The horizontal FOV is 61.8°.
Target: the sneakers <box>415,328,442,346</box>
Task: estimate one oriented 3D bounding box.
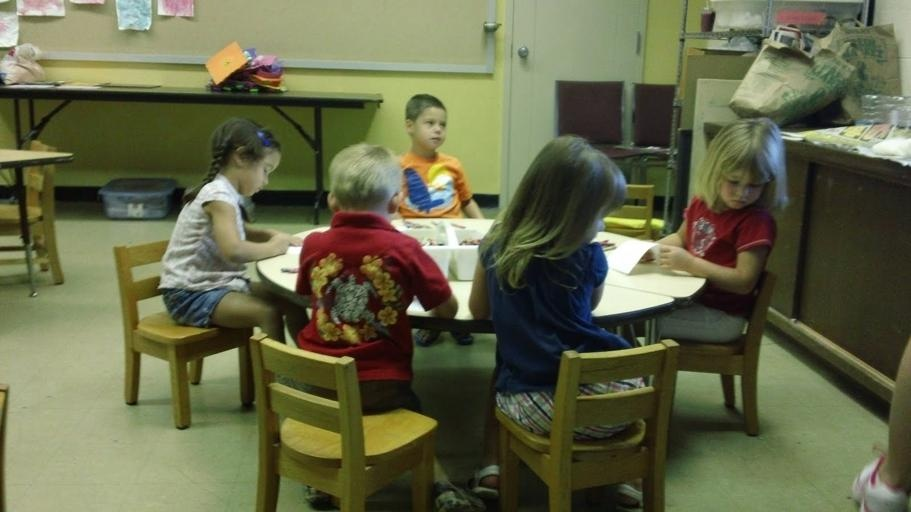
[{"bbox_3d":[-0.170,0.495,4.633,0.141,0.079,0.237,-1,3,-6],"label":"sneakers"}]
